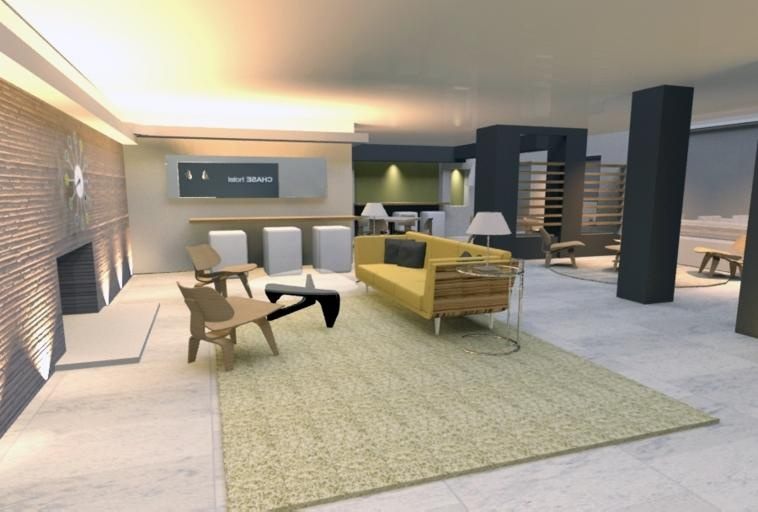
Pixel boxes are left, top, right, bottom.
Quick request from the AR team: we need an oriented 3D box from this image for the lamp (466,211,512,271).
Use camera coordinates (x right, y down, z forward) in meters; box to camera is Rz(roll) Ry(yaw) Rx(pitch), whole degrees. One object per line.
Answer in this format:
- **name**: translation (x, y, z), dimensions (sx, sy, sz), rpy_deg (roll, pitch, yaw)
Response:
- **lamp**: translation (1.511, -0.222, 6.110), dimensions (0.595, 0.470, 0.539), rpy_deg (-7, -13, -35)

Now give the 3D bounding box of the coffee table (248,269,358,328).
- **coffee table**: translation (-1.127, 0.570, 6.325), dimensions (1.002, 0.380, 0.923), rpy_deg (0, 18, -13)

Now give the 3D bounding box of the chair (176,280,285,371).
- **chair**: translation (-1.728, 0.700, 5.386), dimensions (1.094, 0.947, 1.217), rpy_deg (7, 11, 35)

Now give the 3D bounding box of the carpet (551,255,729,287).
- **carpet**: translation (5.241, 0.329, 9.704), dimensions (3.070, 0.070, 3.381), rpy_deg (-6, 10, -28)

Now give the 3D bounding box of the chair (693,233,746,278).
- **chair**: translation (6.953, -0.003, 9.095), dimensions (1.052, 0.671, 0.774), rpy_deg (-2, 5, 5)

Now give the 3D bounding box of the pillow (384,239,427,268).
- **pillow**: translation (0.465, -0.031, 7.708), dimensions (0.180, 0.275, 0.573), rpy_deg (23, -9, -37)

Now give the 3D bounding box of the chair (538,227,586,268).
- **chair**: translation (4.279, -0.175, 10.613), dimensions (1.105, 0.710, 0.771), rpy_deg (2, 3, 14)

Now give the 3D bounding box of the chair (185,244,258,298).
- **chair**: translation (-2.479, 0.244, 7.330), dimensions (1.144, 0.680, 0.817), rpy_deg (3, 11, 1)
